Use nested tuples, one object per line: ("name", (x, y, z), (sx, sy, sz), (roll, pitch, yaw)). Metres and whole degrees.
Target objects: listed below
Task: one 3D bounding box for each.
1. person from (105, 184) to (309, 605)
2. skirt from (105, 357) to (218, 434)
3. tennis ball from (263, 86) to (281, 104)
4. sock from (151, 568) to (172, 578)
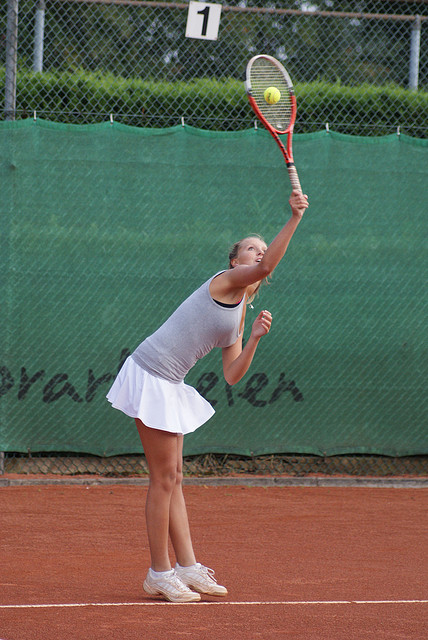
("person", (-0.087, 0.284, 2.929), (0.662, 1.520, 1.064), (3, -1, -7))
("skirt", (-0.173, 0.308, 2.649), (0.353, 0.134, 0.317), (15, 8, -15))
("tennis ball", (0.251, -1.001, 3.351), (0.070, 0.062, 0.066), (2, -1, 0))
("sock", (-0.187, 0.875, 2.618), (0.056, 0.016, 0.038), (-3, -4, 10))
